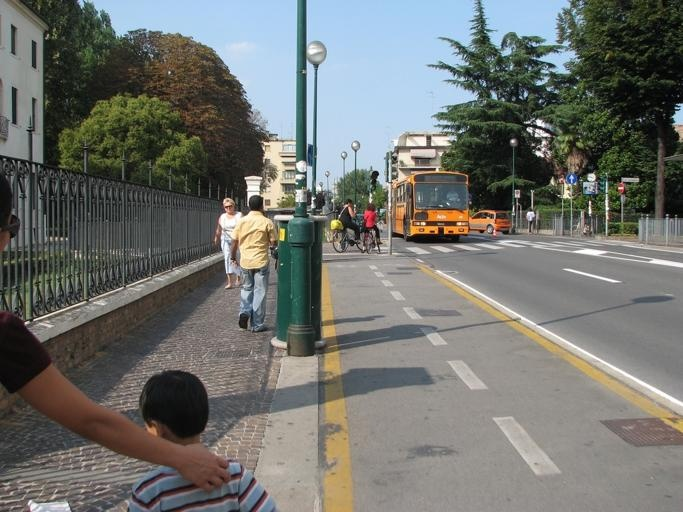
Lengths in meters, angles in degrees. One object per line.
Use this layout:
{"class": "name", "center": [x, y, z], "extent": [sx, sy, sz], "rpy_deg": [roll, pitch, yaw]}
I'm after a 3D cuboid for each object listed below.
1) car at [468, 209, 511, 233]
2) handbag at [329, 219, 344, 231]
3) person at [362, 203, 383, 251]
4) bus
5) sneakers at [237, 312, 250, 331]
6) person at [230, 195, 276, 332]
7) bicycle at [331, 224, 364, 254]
{"class": "car", "center": [11.655, -2.548, 47.277], "extent": [2.413, 1.868, 5.938], "rpy_deg": [1, 8, 4]}
{"class": "handbag", "center": [-0.258, -1.392, 25.701], "extent": [0.495, 0.571, 0.469], "rpy_deg": [5, -5, 39]}
{"class": "person", "center": [1.241, -1.140, 25.240], "extent": [0.662, 1.994, 1.353], "rpy_deg": [1, 7, 1]}
{"class": "bus", "center": [4.710, -2.612, 33.503], "extent": [2.911, 4.020, 5.510], "rpy_deg": [0, 7, -8]}
{"class": "sneakers", "center": [-1.476, 0.981, 9.170], "extent": [0.101, 0.332, 0.128], "rpy_deg": [2, 30, -8]}
{"class": "person", "center": [-1.364, 0.109, 9.488], "extent": [0.661, 2.061, 1.159], "rpy_deg": [-1, 7, -11]}
{"class": "bicycle", "center": [0.325, -0.694, 26.225], "extent": [1.451, 1.061, 0.809], "rpy_deg": [-3, 17, -9]}
